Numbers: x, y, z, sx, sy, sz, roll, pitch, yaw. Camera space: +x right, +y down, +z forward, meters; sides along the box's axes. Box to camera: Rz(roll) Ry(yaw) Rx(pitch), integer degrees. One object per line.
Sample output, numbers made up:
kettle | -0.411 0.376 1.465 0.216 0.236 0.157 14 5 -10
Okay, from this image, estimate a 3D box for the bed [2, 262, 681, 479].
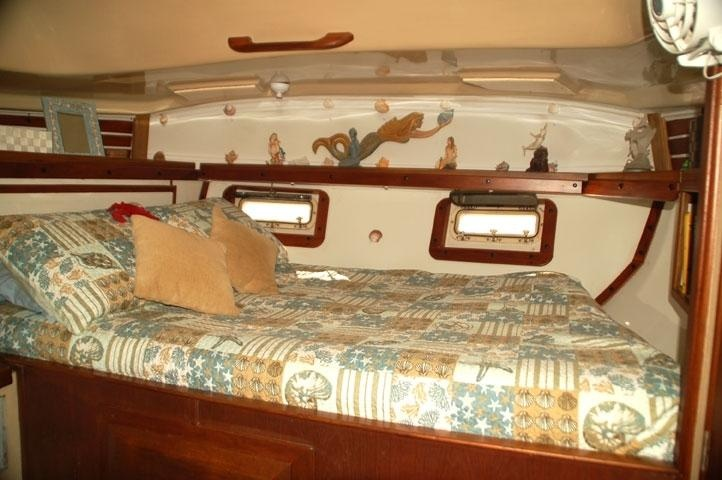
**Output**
bed | -0.163 0.454 2.742 3.052 0.972 1.369 1 -17 12
